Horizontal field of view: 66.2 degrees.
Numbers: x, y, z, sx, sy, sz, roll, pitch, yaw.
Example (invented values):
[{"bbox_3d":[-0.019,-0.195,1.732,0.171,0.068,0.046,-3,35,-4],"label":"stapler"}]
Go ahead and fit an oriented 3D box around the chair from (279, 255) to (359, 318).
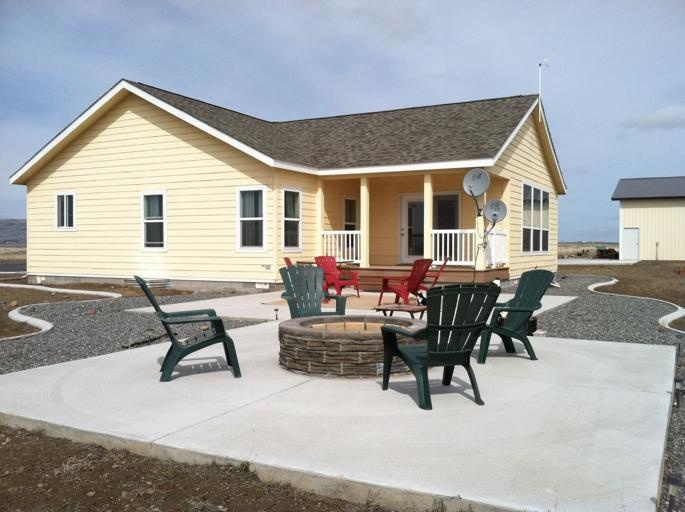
[{"bbox_3d":[-0.409,0.510,8.038,0.935,1.139,0.934,-4,5,-28],"label":"chair"}]
